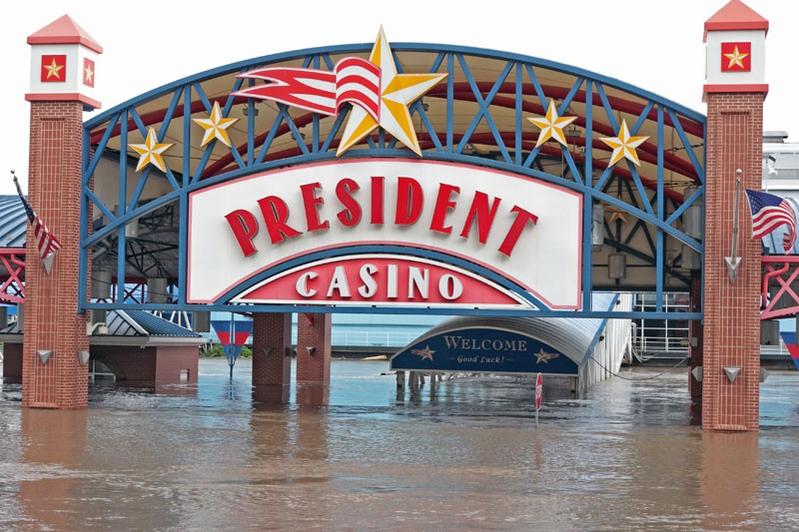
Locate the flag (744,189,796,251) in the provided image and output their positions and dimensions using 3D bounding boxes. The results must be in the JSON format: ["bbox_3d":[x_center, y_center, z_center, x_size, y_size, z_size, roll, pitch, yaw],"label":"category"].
[{"bbox_3d":[12.774,-1.573,49.376,1.552,2.093,2.205,-2,-9,12],"label":"flag"}]
